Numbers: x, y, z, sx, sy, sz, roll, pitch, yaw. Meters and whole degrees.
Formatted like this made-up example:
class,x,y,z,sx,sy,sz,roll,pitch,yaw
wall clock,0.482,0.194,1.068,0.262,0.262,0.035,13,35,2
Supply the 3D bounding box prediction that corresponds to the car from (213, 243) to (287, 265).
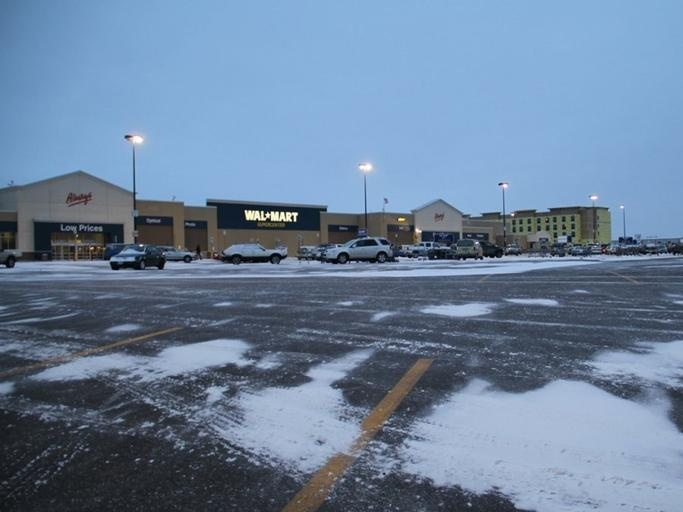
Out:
class,x,y,z,sx,sy,sz,roll,pitch,yaw
car,-6.726,-0.048,40.966,4.560,1.653,3.226,-4,11,-16
